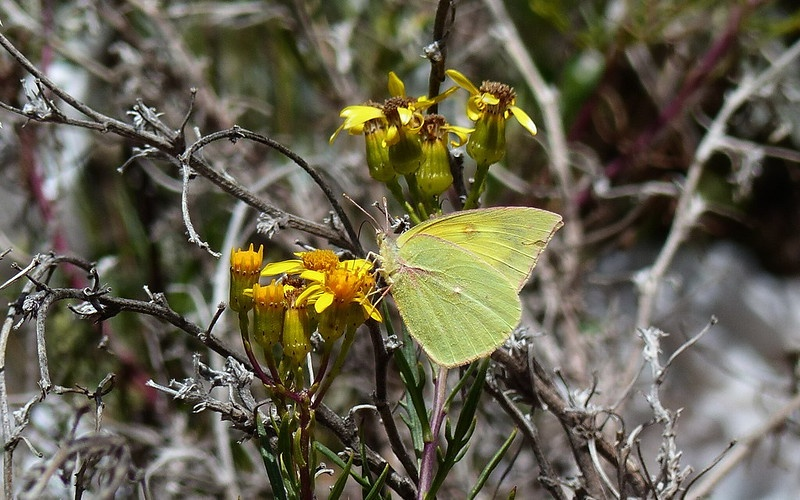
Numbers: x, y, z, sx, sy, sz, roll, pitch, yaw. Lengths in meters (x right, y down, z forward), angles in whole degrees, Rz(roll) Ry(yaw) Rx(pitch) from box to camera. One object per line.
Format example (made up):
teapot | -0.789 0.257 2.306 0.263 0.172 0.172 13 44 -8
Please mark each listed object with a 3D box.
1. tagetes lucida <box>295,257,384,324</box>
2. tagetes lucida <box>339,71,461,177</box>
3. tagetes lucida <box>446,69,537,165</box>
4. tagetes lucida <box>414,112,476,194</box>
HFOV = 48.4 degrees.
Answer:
tagetes lucida | -0.144 0.089 2.119 0.151 0.077 0.156 14 0 40
tagetes lucida | -0.012 -0.300 2.183 0.251 0.199 0.249 -7 12 -35
tagetes lucida | 0.232 -0.333 2.227 0.211 0.227 0.258 10 8 23
tagetes lucida | 0.108 -0.231 2.311 0.158 0.222 0.184 4 -5 1
